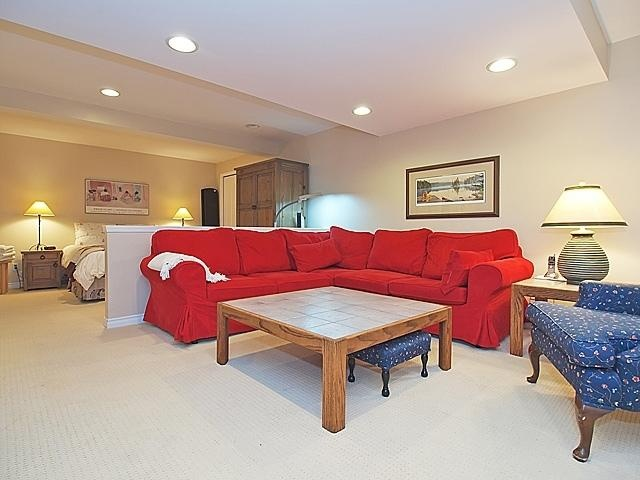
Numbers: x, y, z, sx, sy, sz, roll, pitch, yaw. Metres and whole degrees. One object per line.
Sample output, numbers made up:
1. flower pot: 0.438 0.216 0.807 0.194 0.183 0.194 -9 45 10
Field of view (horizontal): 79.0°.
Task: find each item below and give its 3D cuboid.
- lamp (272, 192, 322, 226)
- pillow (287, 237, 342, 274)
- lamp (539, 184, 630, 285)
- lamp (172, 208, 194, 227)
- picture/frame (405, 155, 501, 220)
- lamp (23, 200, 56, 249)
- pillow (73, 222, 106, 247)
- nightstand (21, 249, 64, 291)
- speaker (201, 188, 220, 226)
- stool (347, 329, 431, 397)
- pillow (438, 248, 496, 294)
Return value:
1. lamp: -0.332 -0.482 6.125 0.715 0.540 0.378 -11 18 -40
2. pillow: -0.096 0.175 4.664 0.796 0.270 0.342 -7 34 -42
3. lamp: 2.319 -0.051 3.409 0.735 0.804 0.716 -2 -6 41
4. lamp: -2.714 -0.471 7.686 0.368 0.360 0.441 -3 14 -16
5. picture/frame: 1.546 -0.608 4.648 0.057 0.626 1.269 -8 7 -34
6. lamp: -4.503 -0.255 6.284 0.385 0.766 0.327 -9 18 -31
7. pillow: -3.766 -0.120 6.340 0.416 0.293 0.653 -7 14 -29
8. nightstand: -4.490 0.445 6.106 0.497 0.603 0.542 2 2 30
9. speaker: -2.235 -0.695 7.968 0.408 0.781 0.393 -6 16 -23
10. stool: 0.512 0.903 2.897 0.584 0.286 0.400 -2 -7 -42
11. pillow: 1.335 0.283 3.474 0.452 0.273 0.145 -11 -4 -23
